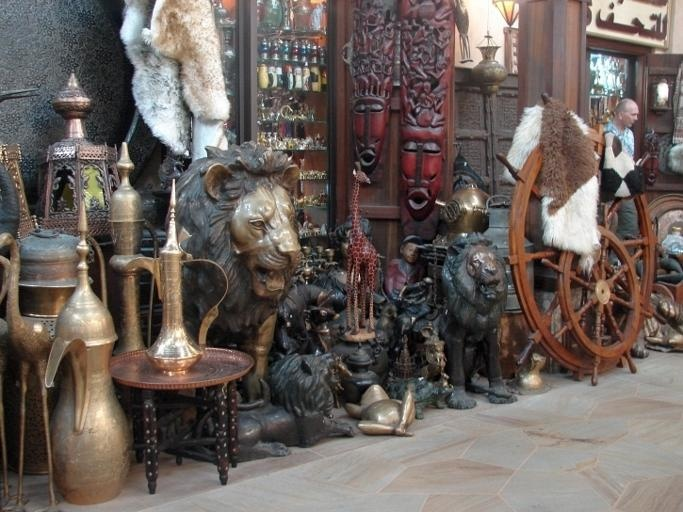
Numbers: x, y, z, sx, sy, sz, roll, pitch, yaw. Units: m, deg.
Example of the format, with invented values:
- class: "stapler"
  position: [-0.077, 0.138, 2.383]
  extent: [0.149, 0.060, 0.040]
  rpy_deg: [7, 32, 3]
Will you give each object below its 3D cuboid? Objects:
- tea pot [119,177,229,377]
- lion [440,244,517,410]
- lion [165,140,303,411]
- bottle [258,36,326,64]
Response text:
- class: "tea pot"
  position: [-0.763, 0.080, 3.020]
  extent: [0.275, 0.809, 0.307]
  rpy_deg: [8, 15, 26]
- class: "lion"
  position: [0.771, 0.343, 4.204]
  extent: [0.424, 1.057, 0.454]
  rpy_deg: [2, 13, -1]
- class: "lion"
  position: [-0.526, 0.117, 3.556]
  extent: [0.757, 1.402, 0.610]
  rpy_deg: [8, 13, 36]
- class: "bottle"
  position: [-0.395, -1.608, 5.338]
  extent: [0.523, 0.198, 0.053]
  rpy_deg: [-3, 11, -19]
